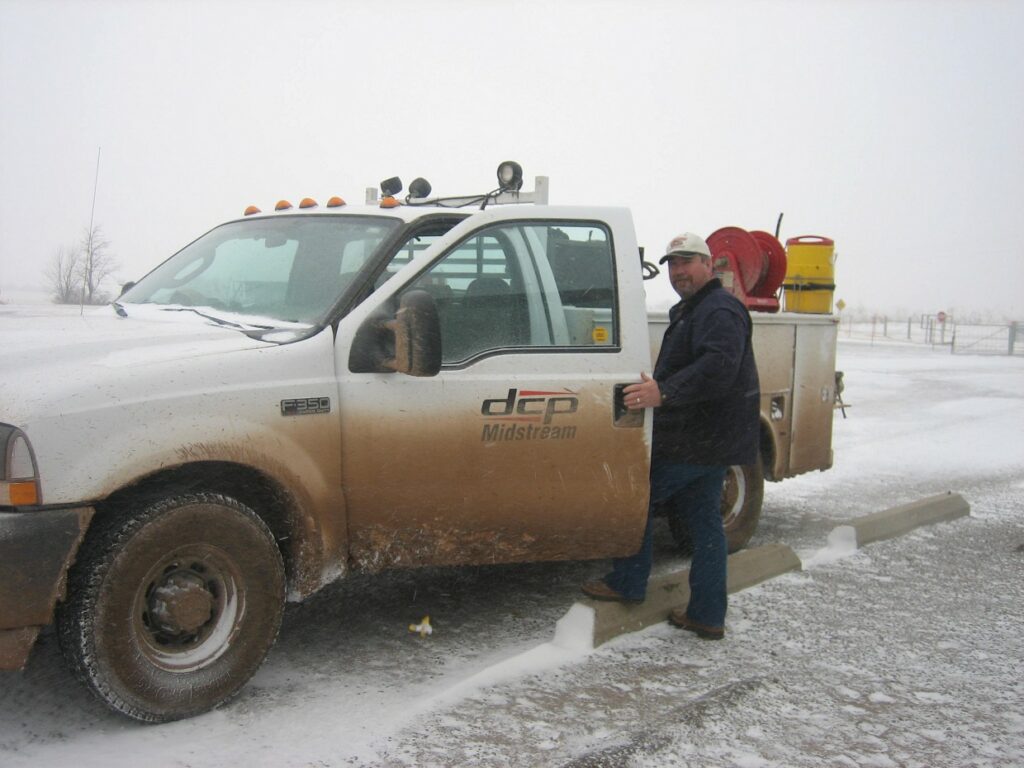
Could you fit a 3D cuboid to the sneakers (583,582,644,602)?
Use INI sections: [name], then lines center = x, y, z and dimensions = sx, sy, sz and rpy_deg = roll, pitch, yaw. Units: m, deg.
[sneakers]
center = 0.625, 1.257, 4.989
dimensions = 0.367, 0.166, 0.142
rpy_deg = 0, -7, 7
